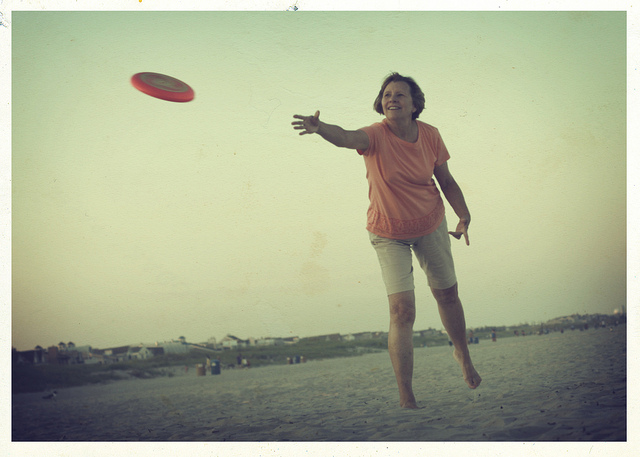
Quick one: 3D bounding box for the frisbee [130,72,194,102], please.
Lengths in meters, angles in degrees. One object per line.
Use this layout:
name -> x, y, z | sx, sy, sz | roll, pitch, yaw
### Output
frisbee -> -1.620, -1.474, 7.165 | 0.349, 0.308, 0.682 | -2, 7, 29

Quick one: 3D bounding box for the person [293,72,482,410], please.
person -> 0.747, 0.059, 5.732 | 0.807, 2.741, 1.176 | -2, 10, 36
